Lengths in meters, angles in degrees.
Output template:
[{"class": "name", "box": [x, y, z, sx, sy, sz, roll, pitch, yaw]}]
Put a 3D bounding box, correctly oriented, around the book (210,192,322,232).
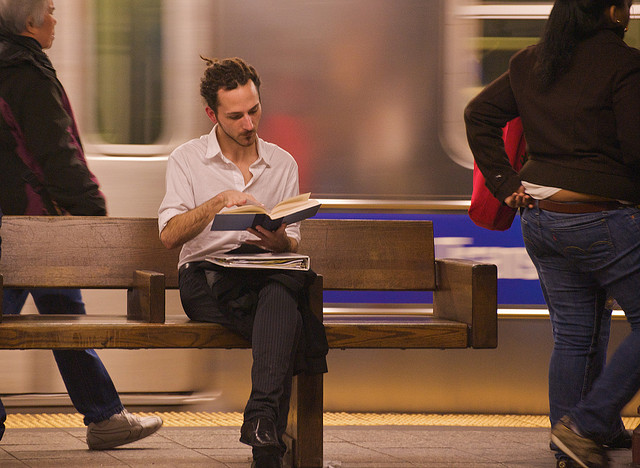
[{"class": "book", "box": [-0.260, -0.074, 4.654, 0.460, 0.101, 0.195, -7, -15, -17]}]
